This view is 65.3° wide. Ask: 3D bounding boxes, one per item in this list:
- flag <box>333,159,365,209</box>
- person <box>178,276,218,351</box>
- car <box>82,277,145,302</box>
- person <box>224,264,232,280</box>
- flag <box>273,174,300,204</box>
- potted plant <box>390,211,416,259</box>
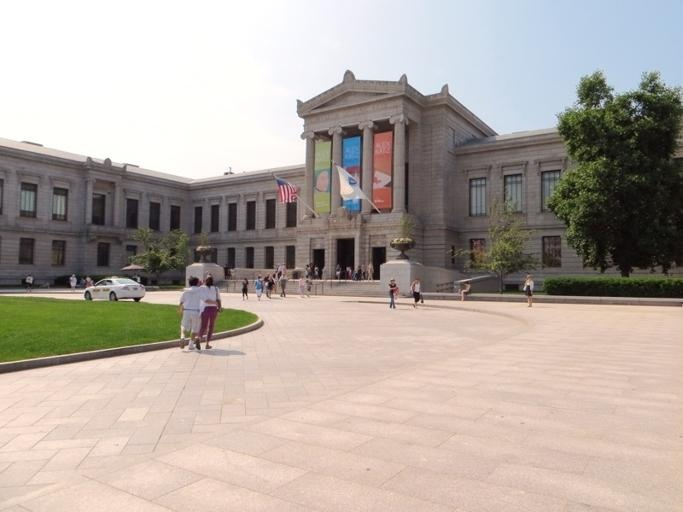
[{"bbox_3d":[0.536,-6.587,46.810,2.407,4.039,6.652,-2,-3,-1],"label":"flag"},{"bbox_3d":[-3.715,1.416,13.789,0.924,1.835,1.433,-2,-3,3],"label":"person"},{"bbox_3d":[-14.283,2.056,33.368,3.795,1.398,1.511,-3,-3,25],"label":"car"},{"bbox_3d":[-11.242,1.647,52.323,0.701,1.223,1.802,-1,-3,-13],"label":"person"},{"bbox_3d":[-4.626,-5.564,44.473,1.455,2.056,1.990,-2,-3,1],"label":"flag"},{"bbox_3d":[4.195,-1.466,38.911,2.295,3.080,2.286,-6,0,22],"label":"potted plant"}]
